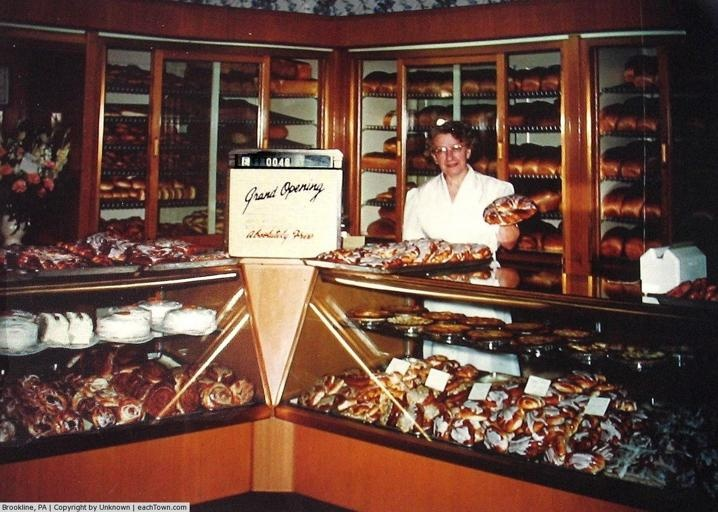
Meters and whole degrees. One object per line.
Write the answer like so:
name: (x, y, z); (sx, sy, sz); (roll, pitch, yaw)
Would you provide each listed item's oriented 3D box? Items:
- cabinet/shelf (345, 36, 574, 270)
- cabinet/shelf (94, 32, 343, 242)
cabinet/shelf: (0.734, -0.741, 3.877); (1.713, 1.487, 0.522); (2, 7, 15)
cabinet/shelf: (-1.017, -0.820, 3.846); (1.576, 1.378, 0.499); (-3, 6, -28)
